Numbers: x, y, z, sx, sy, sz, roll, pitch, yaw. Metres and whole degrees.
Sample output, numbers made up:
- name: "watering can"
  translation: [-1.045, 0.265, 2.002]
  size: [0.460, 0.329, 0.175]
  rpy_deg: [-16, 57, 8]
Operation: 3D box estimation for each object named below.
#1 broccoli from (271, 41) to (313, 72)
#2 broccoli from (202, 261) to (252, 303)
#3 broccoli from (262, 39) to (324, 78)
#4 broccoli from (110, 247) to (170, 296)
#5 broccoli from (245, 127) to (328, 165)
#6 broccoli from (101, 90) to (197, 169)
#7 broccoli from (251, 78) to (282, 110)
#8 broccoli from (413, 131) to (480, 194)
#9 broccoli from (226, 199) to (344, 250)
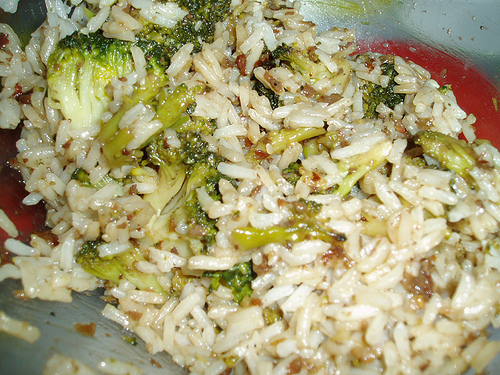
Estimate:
- name: "broccoli"
  translation: [0.255, -0.761, 3.050]
  size: [0.228, 0.063, 0.156]
  rpy_deg: [43, 77, 12]
- name: "broccoli"
  translation: [-0.184, 0.485, 2.809]
  size: [0.184, 0.209, 0.055]
  rpy_deg: [-35, 106, -25]
- name: "broccoli"
  translation: [0.250, -0.761, 3.057]
  size: [0.279, 0.086, 0.214]
  rpy_deg: [10, 77, -10]
- name: "broccoli"
  translation: [-0.583, 0.465, 2.829]
  size: [0.315, 0.203, 0.064]
  rpy_deg: [38, 35, -12]
- name: "broccoli"
  translation: [0.205, -0.234, 2.915]
  size: [0.312, 0.088, 0.078]
  rpy_deg: [-21, 49, -10]
- name: "broccoli"
  translation: [-0.553, -0.327, 2.783]
  size: [0.571, 0.126, 0.190]
  rpy_deg: [-36, 79, -9]
- name: "broccoli"
  translation: [0.078, -0.590, 3.050]
  size: [0.041, 0.106, 0.184]
  rpy_deg: [26, 70, -8]
- name: "broccoli"
  translation: [1.144, -0.158, 2.980]
  size: [0.242, 0.094, 0.393]
  rpy_deg: [-40, 74, -13]
- name: "broccoli"
  translation: [0.191, 0.209, 2.593]
  size: [0.438, 0.111, 0.304]
  rpy_deg: [14, 89, -6]
